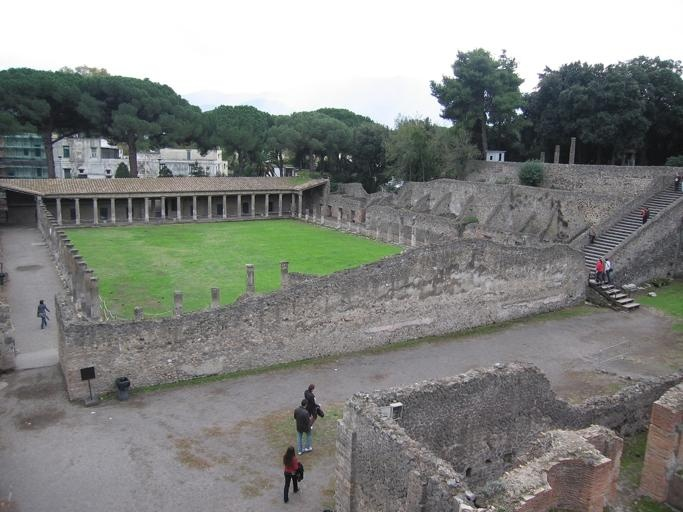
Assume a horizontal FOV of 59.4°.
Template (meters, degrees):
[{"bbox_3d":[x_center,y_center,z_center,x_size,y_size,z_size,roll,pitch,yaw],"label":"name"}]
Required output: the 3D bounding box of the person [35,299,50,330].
[{"bbox_3d":[-13.157,2.488,26.418,0.504,1.105,1.681,-6,9,-27],"label":"person"}]

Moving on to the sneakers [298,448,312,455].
[{"bbox_3d":[-1.085,5.774,17.660,0.356,0.155,0.153,-13,16,-31],"label":"sneakers"}]

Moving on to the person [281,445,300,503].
[{"bbox_3d":[-1.331,5.770,16.040,0.518,1.428,0.665,-3,8,-6],"label":"person"}]

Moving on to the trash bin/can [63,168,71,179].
[{"bbox_3d":[-38.454,-11.738,83.986,0.926,1.210,0.734,-7,10,-31],"label":"trash bin/can"}]

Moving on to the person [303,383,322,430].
[{"bbox_3d":[-0.833,4.654,18.385,0.653,1.386,0.469,0,10,1],"label":"person"}]

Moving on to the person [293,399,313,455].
[{"bbox_3d":[-1.126,5.066,17.750,0.452,1.477,0.789,-2,8,-1],"label":"person"}]

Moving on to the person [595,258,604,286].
[{"bbox_3d":[13.585,0.814,31.561,0.569,1.258,0.368,-7,10,-31],"label":"person"}]

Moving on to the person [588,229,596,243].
[{"bbox_3d":[14.873,-1.161,35.614,0.400,0.791,0.593,3,10,31],"label":"person"}]
